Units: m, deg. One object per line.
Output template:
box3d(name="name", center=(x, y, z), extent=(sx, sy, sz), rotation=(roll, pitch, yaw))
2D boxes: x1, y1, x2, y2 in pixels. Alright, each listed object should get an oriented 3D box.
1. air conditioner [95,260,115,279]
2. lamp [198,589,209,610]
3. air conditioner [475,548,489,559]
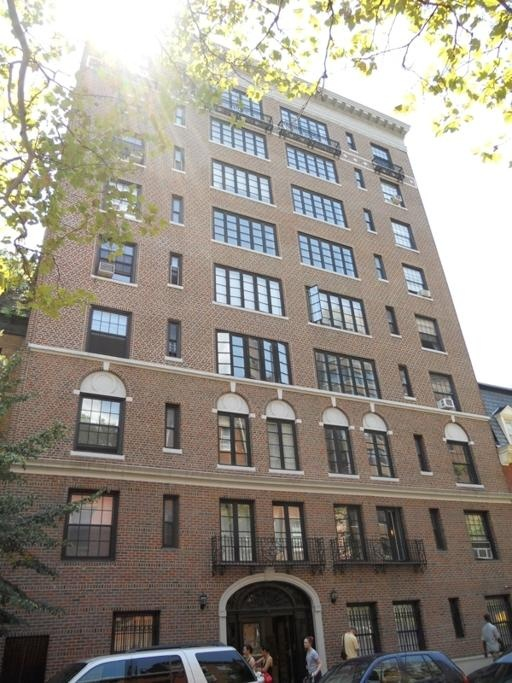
box3d(name="air conditioner", center=(-5.867, -2.868, 18.896), extent=(0.648, 0.757, 0.509), rotation=(11, -37, -21))
box3d(name="lamp", center=(-1.663, 8.095, 15.004), extent=(0.278, 0.526, 0.451), rotation=(-3, -34, -3))
box3d(name="air conditioner", center=(10.548, 9.961, 22.535), extent=(1.132, 0.524, 0.171), rotation=(20, -41, -32))
